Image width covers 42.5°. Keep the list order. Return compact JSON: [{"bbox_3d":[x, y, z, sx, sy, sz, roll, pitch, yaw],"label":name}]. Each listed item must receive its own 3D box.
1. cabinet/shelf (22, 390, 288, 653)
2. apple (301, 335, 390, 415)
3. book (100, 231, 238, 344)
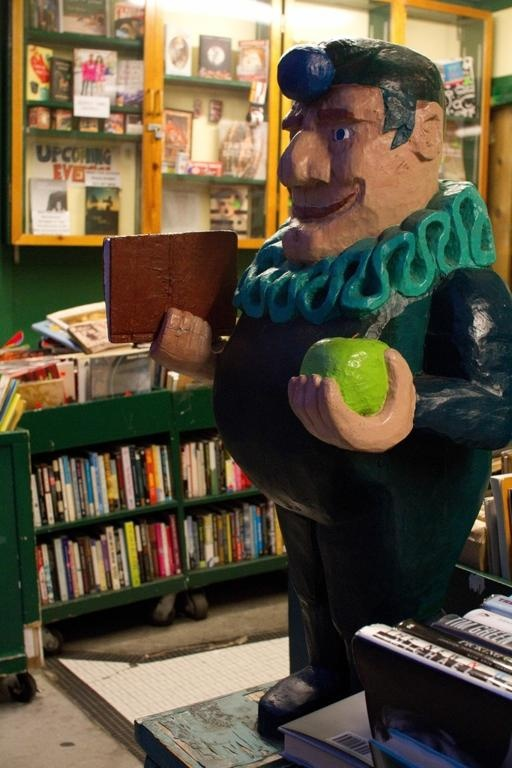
[{"bbox_3d":[-0.426,0.515,2.418,1.071,0.824,0.361,-5,4,-36],"label":"cabinet/shelf"},{"bbox_3d":[0.097,-0.015,0.717,0.086,0.078,0.083,5,8,43],"label":"apple"},{"bbox_3d":[-0.125,-0.149,1.018,0.225,0.161,0.026,2,0,24],"label":"book"}]
